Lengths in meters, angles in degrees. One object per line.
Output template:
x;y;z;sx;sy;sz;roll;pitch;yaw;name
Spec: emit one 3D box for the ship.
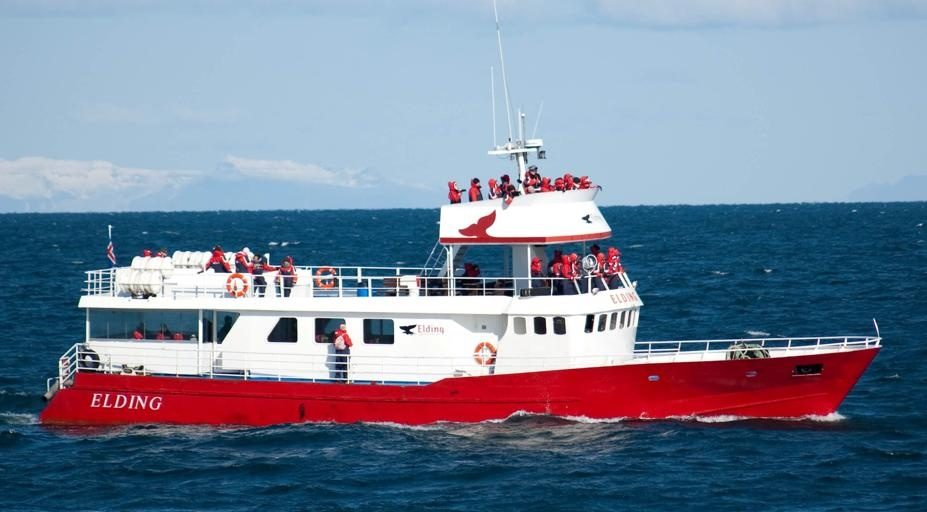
0.911;5.172;136.229;61.458;23.308;15.986;-1;-2;8;ship
